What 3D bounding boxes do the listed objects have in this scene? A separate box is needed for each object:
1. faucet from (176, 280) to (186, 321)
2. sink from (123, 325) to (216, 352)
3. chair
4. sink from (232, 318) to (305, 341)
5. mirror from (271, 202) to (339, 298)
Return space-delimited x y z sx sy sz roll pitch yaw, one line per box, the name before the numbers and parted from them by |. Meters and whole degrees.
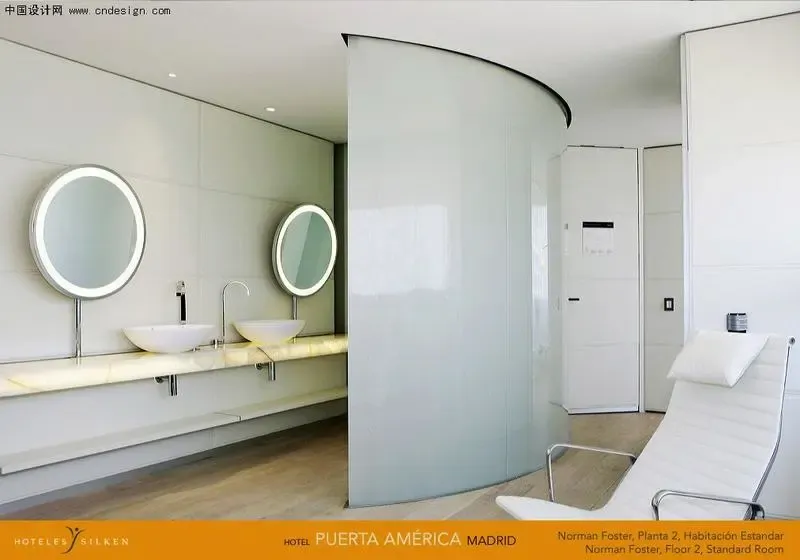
faucet | -1.848 0.180 4.571 0.101 0.356 0.097 -4 6 -40
sink | -1.837 0.463 4.262 0.504 0.219 0.530 5 7 44
chair | 1.648 0.782 3.324 1.703 1.109 0.940 -2 -4 -22
sink | -1.211 0.471 4.936 0.500 0.217 0.463 5 7 41
mirror | -0.997 -0.312 5.459 0.106 0.933 0.898 3 -9 42
